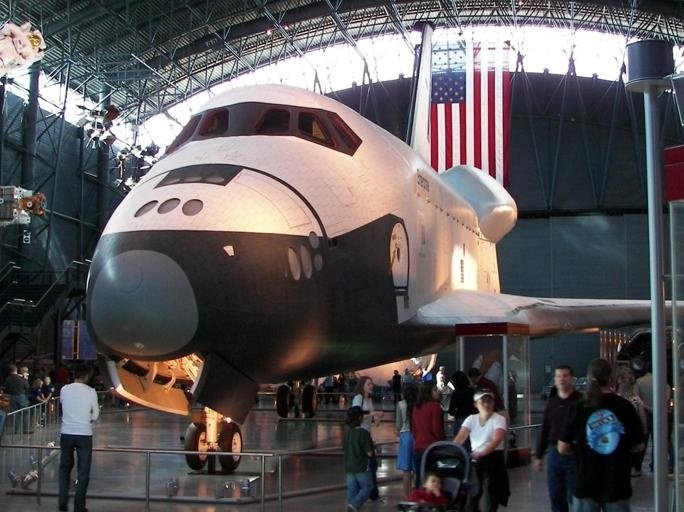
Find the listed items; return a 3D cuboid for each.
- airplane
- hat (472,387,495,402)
[{"bbox_3d":[-0.106,0.161,10.632,7.863,4.558,6.310,-1,-6,25],"label":"airplane"},{"bbox_3d":[1.518,1.491,7.920,0.176,0.136,0.299,-2,-11,7],"label":"hat"}]
